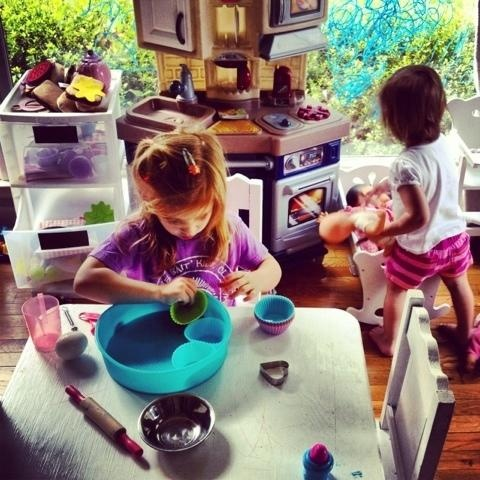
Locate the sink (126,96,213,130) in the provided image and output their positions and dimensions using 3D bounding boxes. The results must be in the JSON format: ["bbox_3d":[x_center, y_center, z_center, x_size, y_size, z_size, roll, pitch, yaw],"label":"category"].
[{"bbox_3d":[-0.316,-0.587,1.948,0.381,0.137,0.300,1,23,10],"label":"sink"}]
